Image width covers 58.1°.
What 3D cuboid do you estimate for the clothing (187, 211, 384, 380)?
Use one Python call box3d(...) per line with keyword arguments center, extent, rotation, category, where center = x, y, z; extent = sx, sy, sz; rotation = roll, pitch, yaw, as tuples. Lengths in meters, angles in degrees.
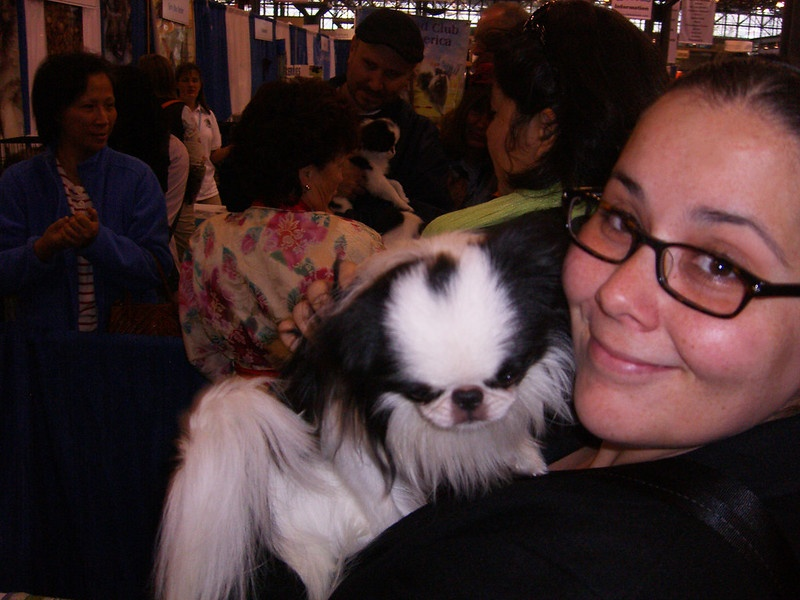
box3d(center=(-0.262, -0.028, 1.638), extent=(0.371, 0.360, 0.213), rotation=(-12, 8, 23), category="clothing")
